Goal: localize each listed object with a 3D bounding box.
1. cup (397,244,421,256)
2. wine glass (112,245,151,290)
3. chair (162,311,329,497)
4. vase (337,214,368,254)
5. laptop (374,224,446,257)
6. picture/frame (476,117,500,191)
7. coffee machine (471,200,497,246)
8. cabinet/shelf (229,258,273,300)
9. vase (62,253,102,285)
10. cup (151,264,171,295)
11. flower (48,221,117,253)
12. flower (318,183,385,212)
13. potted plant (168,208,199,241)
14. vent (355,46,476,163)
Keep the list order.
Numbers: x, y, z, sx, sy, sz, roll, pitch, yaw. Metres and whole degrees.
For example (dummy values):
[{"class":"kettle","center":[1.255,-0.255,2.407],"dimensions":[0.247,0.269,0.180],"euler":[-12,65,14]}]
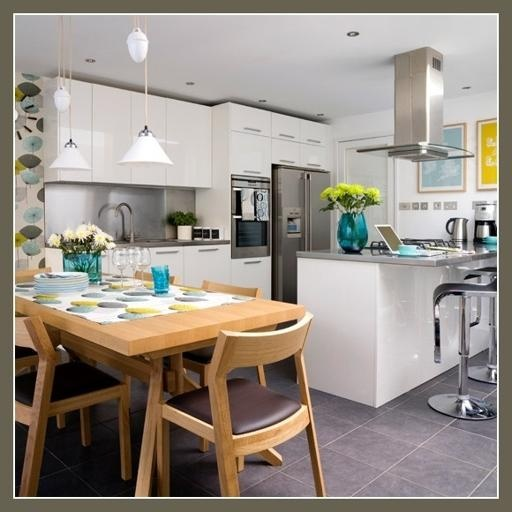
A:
[{"class":"cup","center":[0.926,-0.034,2.691],"dimensions":[0.085,0.049,0.109],"euler":[-3,6,-26]},{"class":"wine glass","center":[-0.702,0.075,2.474],"dimensions":[0.250,0.289,0.150],"euler":[-1,5,-25]},{"class":"chair","center":[-0.052,0.564,1.601],"dimensions":[0.452,0.726,0.512],"euler":[4,6,43]},{"class":"vase","center":[0.633,-0.137,2.907],"dimensions":[0.217,0.307,0.234],"euler":[0,-2,-7]},{"class":"laptop","center":[0.995,-0.086,2.946],"dimensions":[0.281,0.151,0.296],"euler":[1,1,32]},{"class":"picture/frame","center":[2.454,-1.060,4.619],"dimensions":[0.141,0.751,0.268],"euler":[0,5,-8]},{"class":"coffee machine","center":[2.283,-0.326,4.362],"dimensions":[0.190,0.398,0.275],"euler":[3,5,28]},{"class":"cabinet/shelf","center":[-0.032,0.211,5.123],"dimensions":[0.563,0.604,0.410],"euler":[0,-1,-44]},{"class":"vase","center":[-0.974,0.065,2.461],"dimensions":[0.173,0.138,0.175],"euler":[2,0,-32]},{"class":"cup","center":[-0.461,0.117,2.188],"dimensions":[0.113,0.186,0.119],"euler":[0,-1,0]},{"class":"flower","center":[-0.961,-0.079,2.440],"dimensions":[0.232,0.139,0.216],"euler":[0,0,3]},{"class":"flower","center":[0.610,-0.386,2.920],"dimensions":[0.371,0.201,0.380],"euler":[-1,4,-17]},{"class":"potted plant","center":[-0.880,-0.320,5.158],"dimensions":[0.309,0.423,0.399],"euler":[0,2,25]},{"class":"vent","center":[1.333,-1.235,3.586],"dimensions":[0.547,0.824,0.838],"euler":[4,6,44]}]
